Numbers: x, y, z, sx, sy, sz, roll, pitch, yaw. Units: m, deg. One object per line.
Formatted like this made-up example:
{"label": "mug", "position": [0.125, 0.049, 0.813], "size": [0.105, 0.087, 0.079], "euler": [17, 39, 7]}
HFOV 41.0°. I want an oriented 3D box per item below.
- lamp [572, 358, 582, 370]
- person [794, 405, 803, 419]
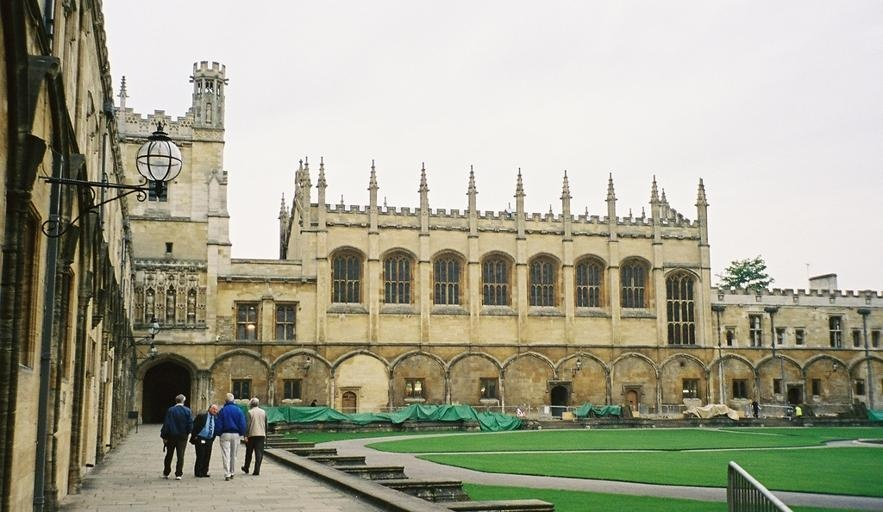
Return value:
{"label": "lamp", "position": [9.240, 7.144, 78.815], "size": [0.689, 0.814, 0.379], "euler": [2, -12, -8]}
{"label": "person", "position": [23.768, 10.268, 78.089], "size": [0.344, 0.842, 0.250], "euler": [7, -48, 9]}
